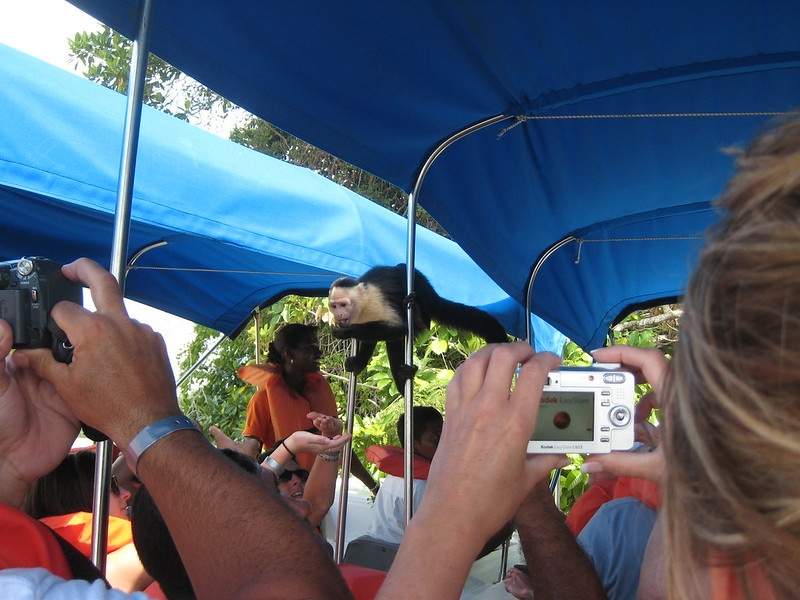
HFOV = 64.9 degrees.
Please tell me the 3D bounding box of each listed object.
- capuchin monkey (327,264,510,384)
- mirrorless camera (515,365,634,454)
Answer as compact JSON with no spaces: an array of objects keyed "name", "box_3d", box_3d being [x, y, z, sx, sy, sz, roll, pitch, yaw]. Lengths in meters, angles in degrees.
[{"name":"capuchin monkey","box_3d":[0.188,0.232,6.096,1.931,1.144,0.682,1,9,-25]},{"name":"mirrorless camera","box_3d":[0.361,0.221,1.350,0.244,0.185,0.152,1,8,10]}]
